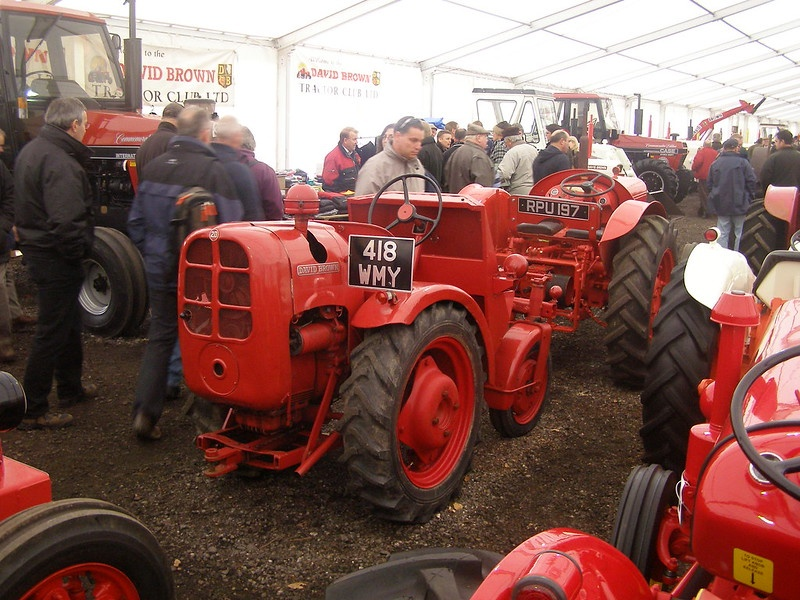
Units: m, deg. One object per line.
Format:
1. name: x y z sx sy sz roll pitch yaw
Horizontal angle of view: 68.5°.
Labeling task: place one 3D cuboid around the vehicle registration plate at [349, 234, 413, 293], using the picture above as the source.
1. vehicle registration plate: -0.098 -0.186 2.983 0.243 0.205 0.037 9 13 27

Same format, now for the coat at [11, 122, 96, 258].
1. coat: -2.356 -0.742 3.992 0.506 0.863 0.374 6 16 15

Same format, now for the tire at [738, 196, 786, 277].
1. tire: 3.377 -0.687 5.447 0.470 0.530 0.158 -13 7 -21

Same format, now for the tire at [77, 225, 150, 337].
1. tire: -2.558 -0.170 5.238 0.771 0.916 0.241 18 20 35

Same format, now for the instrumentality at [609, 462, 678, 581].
1. instrumentality: 0.923 0.838 2.193 0.130 0.447 0.420 11 21 14

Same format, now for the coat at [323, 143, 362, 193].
1. coat: -0.810 -1.934 8.690 0.449 0.768 0.757 8 23 34

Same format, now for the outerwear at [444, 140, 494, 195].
1. outerwear: 0.678 -1.664 7.130 0.633 0.626 0.359 -4 0 -33

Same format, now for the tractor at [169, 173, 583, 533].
1. tractor: 0.007 0.086 3.820 1.343 1.684 2.576 8 19 32

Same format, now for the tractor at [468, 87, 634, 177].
1. tractor: 3.715 -3.716 13.592 3.464 2.391 2.151 6 21 25

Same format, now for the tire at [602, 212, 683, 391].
1. tire: 2.240 0.034 5.235 0.406 1.506 1.449 8 29 22

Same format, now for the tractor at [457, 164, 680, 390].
1. tractor: 1.098 -0.381 5.951 2.686 1.675 1.792 17 4 19
